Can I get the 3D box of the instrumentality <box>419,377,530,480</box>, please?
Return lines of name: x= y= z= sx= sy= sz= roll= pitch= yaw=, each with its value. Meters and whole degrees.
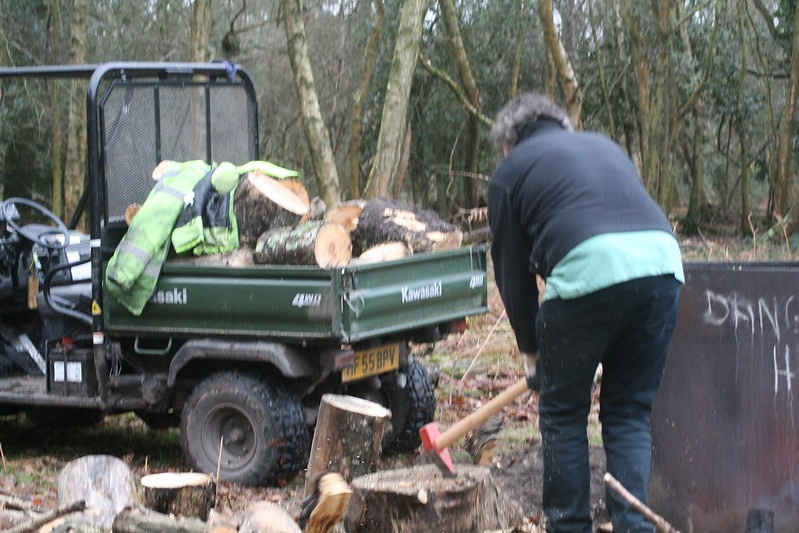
instrumentality: x=0.707 y=1.558 z=13.219 sx=1.328 sy=0.777 sz=0.210 roll=-42 pitch=12 yaw=-14

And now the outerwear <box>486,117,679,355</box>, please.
outerwear: x=1.722 y=-0.550 z=12.868 sx=1.290 sy=2.568 sz=2.090 roll=-14 pitch=18 yaw=-10

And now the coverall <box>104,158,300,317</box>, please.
coverall: x=-2.244 y=-0.325 z=14.157 sx=2.153 sy=1.716 sz=0.404 roll=0 pitch=2 yaw=-4
